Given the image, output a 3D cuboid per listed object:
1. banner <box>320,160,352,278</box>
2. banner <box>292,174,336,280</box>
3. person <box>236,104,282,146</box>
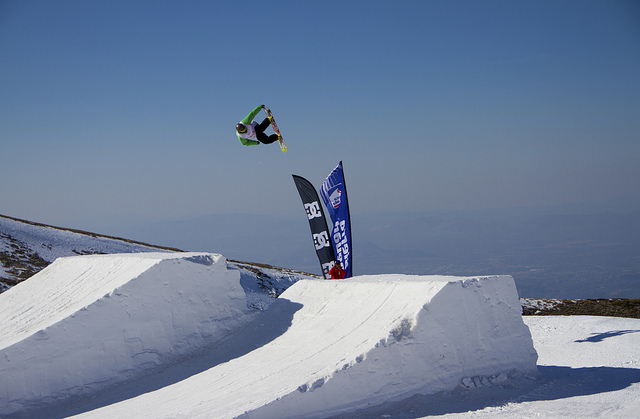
[{"bbox_3d":[0.682,0.370,24.066,0.905,4.545,1.064,-4,0,0],"label":"banner"},{"bbox_3d":[-0.055,0.800,24.866,0.730,6.128,0.123,-18,42,-2],"label":"banner"},{"bbox_3d":[-1.942,-2.771,20.662,0.652,1.439,2.323,32,23,28],"label":"person"}]
